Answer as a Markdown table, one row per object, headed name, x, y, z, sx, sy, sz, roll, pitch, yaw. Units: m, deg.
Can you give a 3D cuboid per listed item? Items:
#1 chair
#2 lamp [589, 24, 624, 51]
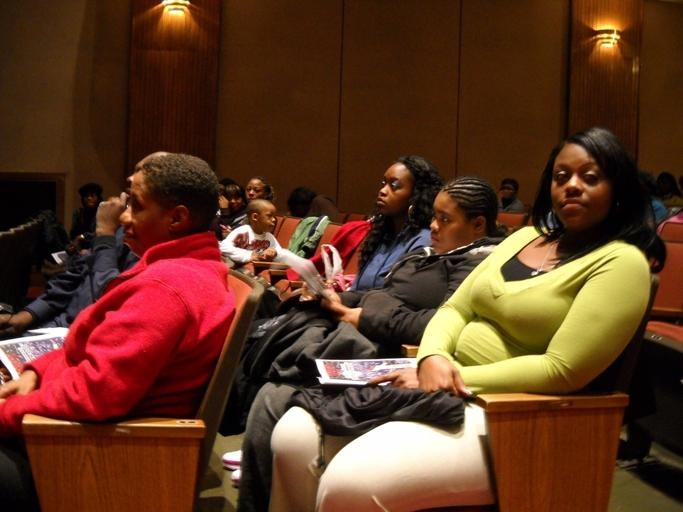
| name | x | y | z | sx | sy | sz | roll | pitch | yaw |
| --- | --- | --- | --- | --- | --- | --- | --- | --- | --- |
| chair | 0.083 | 0.325 | 1.559 | 1.063 | 0.627 | 1.127 | 3 | -6 | -9 |
| lamp | 4.874 | -3.989 | 9.235 | 0.602 | 0.287 | 0.068 | 3 | 2 | -8 |
